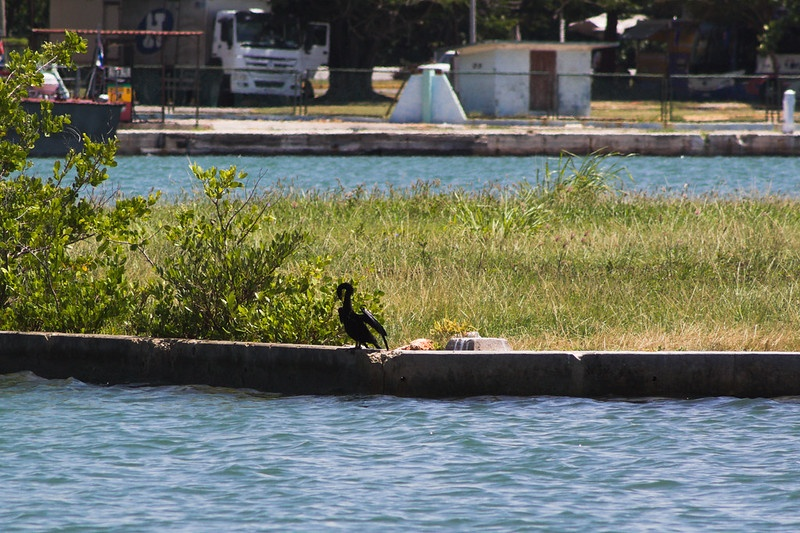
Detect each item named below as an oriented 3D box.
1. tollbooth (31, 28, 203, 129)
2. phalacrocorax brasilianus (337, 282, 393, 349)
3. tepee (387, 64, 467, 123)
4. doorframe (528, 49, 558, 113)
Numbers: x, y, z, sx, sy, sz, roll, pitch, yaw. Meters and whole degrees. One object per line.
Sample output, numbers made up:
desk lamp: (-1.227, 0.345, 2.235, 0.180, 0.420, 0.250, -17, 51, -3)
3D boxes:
tollbooth: (-9.986, -6.759, 77.519, 5.436, 3.508, 2.165, -4, 8, -28)
phalacrocorax brasilianus: (-0.939, 1.251, 51.615, 1.153, 1.529, 0.571, 0, 10, 5)
tepee: (0.961, -6.225, 81.661, 2.301, 1.766, 2.389, 1, 9, 11)
doorframe: (5.420, -6.938, 82.758, 1.015, 2.310, 1.938, 0, 10, 4)
